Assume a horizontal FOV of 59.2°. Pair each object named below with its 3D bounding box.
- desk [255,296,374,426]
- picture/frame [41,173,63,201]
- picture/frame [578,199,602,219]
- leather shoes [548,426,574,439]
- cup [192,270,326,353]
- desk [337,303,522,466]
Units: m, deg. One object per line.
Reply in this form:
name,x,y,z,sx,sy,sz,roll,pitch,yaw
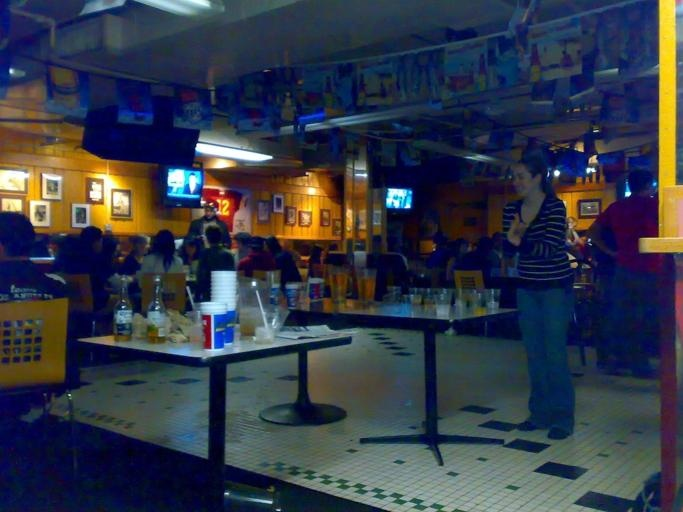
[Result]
desk,-0.270,0.822,4.925,0.910,0.849,0.858,1,0,-5
picture/frame,-4.897,-1.155,10.071,0.057,0.556,0.485,1,-2,35
picture/frame,5.293,-1.002,12.809,0.395,0.402,0.397,5,11,31
leather shoes,1.566,1.271,4.293,0.150,0.081,0.061,3,-15,-1
cup,-0.522,0.294,3.407,0.418,0.366,0.365,0,1,28
desk,0.587,0.771,4.333,1.115,0.940,1.087,-4,6,-42
